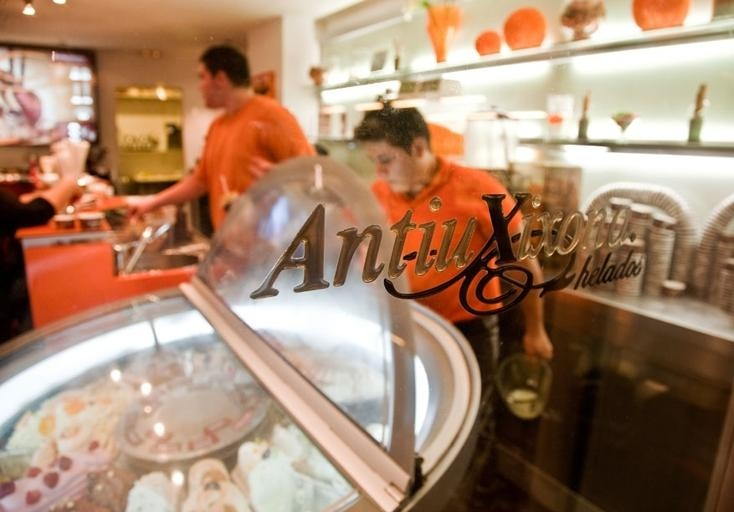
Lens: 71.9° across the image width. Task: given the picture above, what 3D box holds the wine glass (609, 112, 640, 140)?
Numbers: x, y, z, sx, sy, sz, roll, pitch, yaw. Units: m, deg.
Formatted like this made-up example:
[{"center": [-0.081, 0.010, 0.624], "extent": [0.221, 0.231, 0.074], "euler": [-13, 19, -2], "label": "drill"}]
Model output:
[{"center": [0.737, -0.377, 1.449], "extent": [0.059, 0.048, 0.064], "euler": [-3, 8, -1], "label": "wine glass"}]

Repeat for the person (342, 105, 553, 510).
[{"center": [0.294, 0.134, 1.365], "extent": [0.584, 1.042, 0.260], "euler": [-8, 17, -19], "label": "person"}]

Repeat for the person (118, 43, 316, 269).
[{"center": [-0.358, -0.333, 1.472], "extent": [0.482, 0.784, 0.324], "euler": [-11, 13, -16], "label": "person"}]
